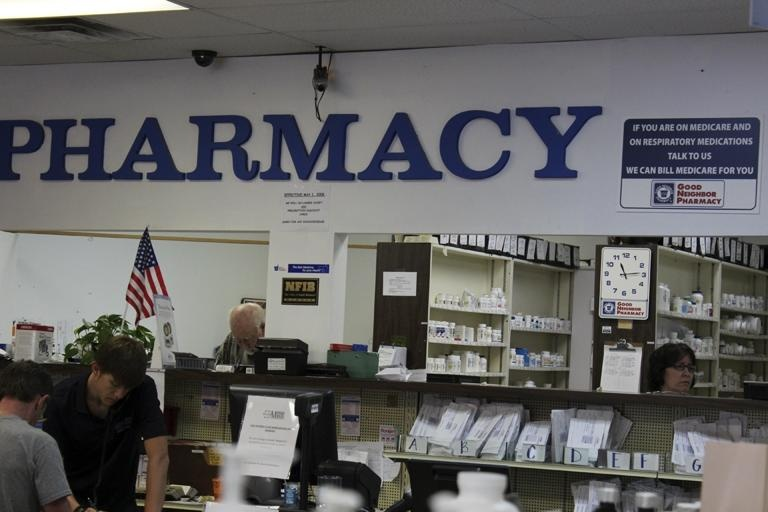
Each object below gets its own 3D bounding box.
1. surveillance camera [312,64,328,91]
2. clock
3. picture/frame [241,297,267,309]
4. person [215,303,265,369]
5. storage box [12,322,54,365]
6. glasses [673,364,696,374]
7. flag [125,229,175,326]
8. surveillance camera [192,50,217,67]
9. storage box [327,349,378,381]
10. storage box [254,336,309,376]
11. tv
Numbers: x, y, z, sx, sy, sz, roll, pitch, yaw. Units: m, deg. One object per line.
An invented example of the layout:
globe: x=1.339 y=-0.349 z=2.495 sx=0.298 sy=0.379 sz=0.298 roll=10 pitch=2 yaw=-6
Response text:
surveillance camera: x=-0.555 y=-1.560 z=6.311 sx=0.144 sy=0.206 sz=0.080 roll=-1 pitch=2 yaw=9
clock: x=2.361 y=0.302 z=7.021 sx=0.688 sy=0.981 sz=0.096 roll=2 pitch=-3 yaw=20
picture/frame: x=-1.646 y=0.592 z=9.061 sx=0.299 sy=0.203 sz=0.014 roll=2 pitch=-10 yaw=7
person: x=-1.341 y=0.758 z=6.901 sx=0.327 sy=0.603 sz=0.928 roll=4 pitch=-5 yaw=-15
storage box: x=-2.878 y=0.723 z=5.889 sx=0.219 sy=0.295 sz=0.297 roll=-2 pitch=-5 yaw=15
glasses: x=2.352 y=0.883 z=5.605 sx=0.184 sy=0.064 sz=0.048 roll=4 pitch=-5 yaw=-17
flag: x=-2.054 y=0.168 z=6.377 sx=0.326 sy=0.848 sz=0.433 roll=3 pitch=-5 yaw=2
surveillance camera: x=-1.643 y=-1.796 z=6.583 sx=0.232 sy=0.129 sz=0.208 roll=3 pitch=-5 yaw=-3
storage box: x=-0.260 y=0.857 z=5.710 sx=0.420 sy=0.204 sz=0.227 roll=2 pitch=-5 yaw=4
storage box: x=-0.818 y=0.799 z=5.724 sx=0.417 sy=0.283 sz=0.172 roll=3 pitch=-5 yaw=-7
tv: x=-0.457 y=0.814 z=3.258 sx=0.444 sy=0.393 sz=0.227 roll=-2 pitch=-3 yaw=25
